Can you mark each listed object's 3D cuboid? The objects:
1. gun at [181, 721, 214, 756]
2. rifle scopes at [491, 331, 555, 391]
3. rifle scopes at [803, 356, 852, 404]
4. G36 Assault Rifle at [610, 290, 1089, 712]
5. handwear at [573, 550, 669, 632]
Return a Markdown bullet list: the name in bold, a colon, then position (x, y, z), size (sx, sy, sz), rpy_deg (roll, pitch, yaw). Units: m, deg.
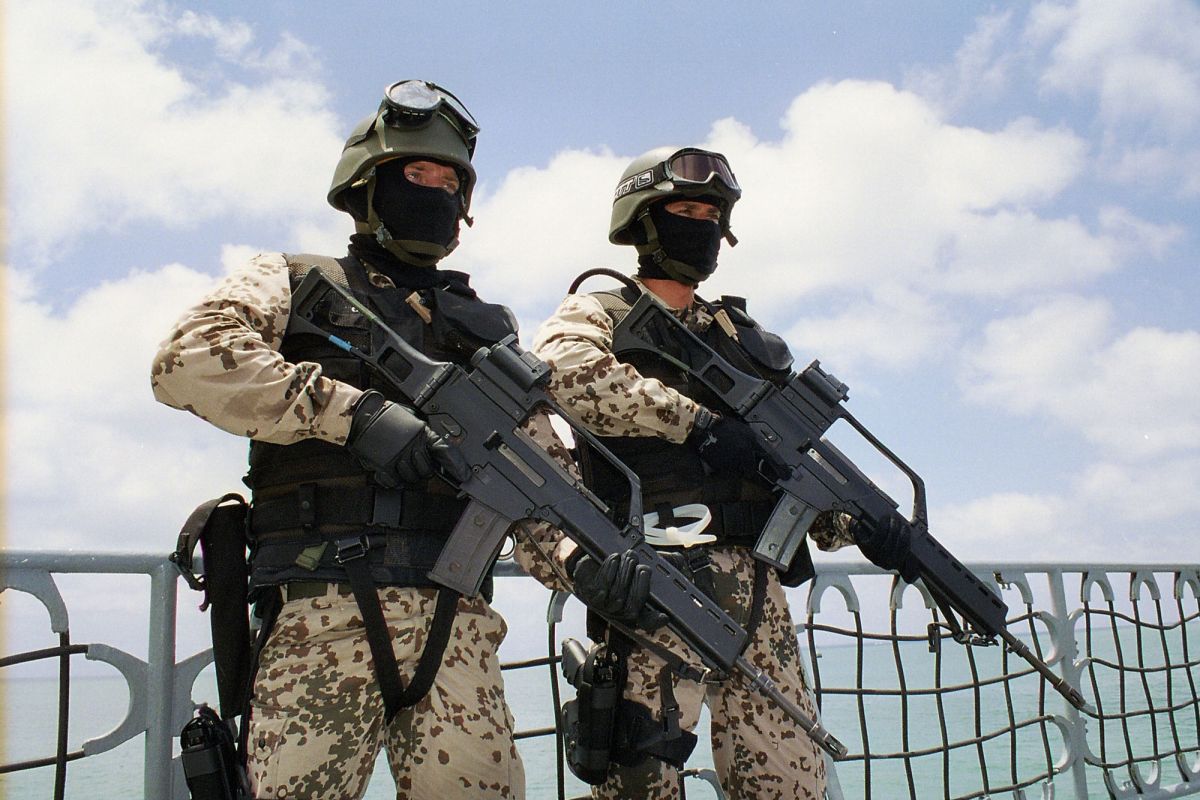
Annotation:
- **gun**: position (-1.956, 1.622, 6.604), size (0.112, 0.153, 0.154), rpy_deg (-3, 2, 2)
- **rifle scopes**: position (-0.408, -0.185, 7.000), size (0.336, 0.332, 0.147), rpy_deg (25, -64, -42)
- **rifle scopes**: position (1.164, -0.066, 7.188), size (0.241, 0.148, 0.095), rpy_deg (37, -34, 7)
- **G36 Assault Rifle**: position (0.882, 0.674, 7.538), size (3.400, 1.308, 0.372), rpy_deg (40, -18, -3)
- **handwear**: position (0.104, 0.973, 6.936), size (0.471, 0.197, 0.343), rpy_deg (39, -73, -21)
